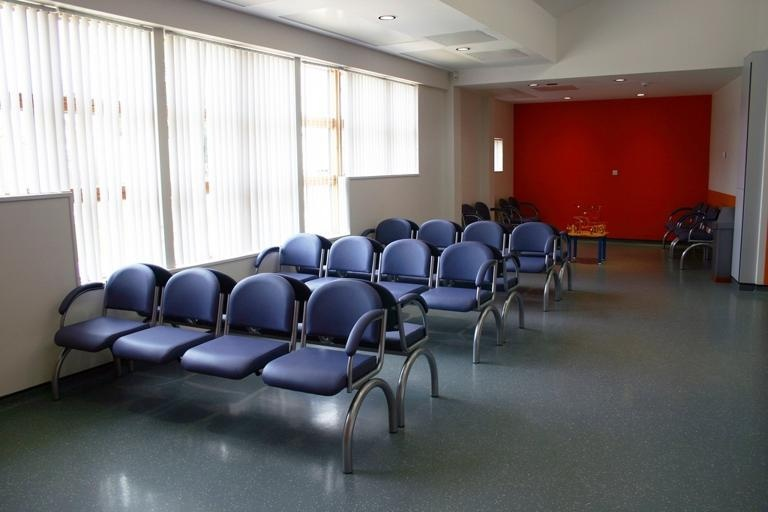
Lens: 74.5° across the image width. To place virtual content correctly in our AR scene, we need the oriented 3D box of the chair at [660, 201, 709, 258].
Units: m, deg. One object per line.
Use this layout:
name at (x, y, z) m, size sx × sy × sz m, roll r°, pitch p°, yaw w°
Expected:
chair at (6.828, -0.591, 11.410) m, size 1.042 × 1.331 × 1.182 m, roll -2°, pitch 8°, yaw 17°

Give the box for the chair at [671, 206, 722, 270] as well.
chair at (6.418, -0.327, 10.352) m, size 0.604 × 0.826 × 1.330 m, roll -2°, pitch 7°, yaw 24°
